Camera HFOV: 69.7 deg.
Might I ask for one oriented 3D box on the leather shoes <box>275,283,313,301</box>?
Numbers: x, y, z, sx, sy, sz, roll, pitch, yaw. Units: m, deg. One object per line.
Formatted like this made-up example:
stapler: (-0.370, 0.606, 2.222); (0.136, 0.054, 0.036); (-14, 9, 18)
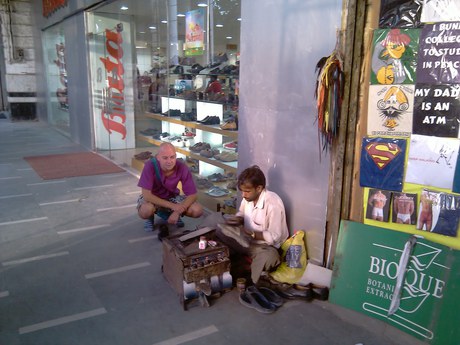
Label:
leather shoes: (0.564, 1.036, 2.886); (0.281, 0.090, 0.119); (3, 9, 20)

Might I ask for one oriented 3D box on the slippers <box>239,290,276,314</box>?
slippers: (0.225, 1.079, 2.751); (0.319, 0.096, 0.163); (4, 10, 22)

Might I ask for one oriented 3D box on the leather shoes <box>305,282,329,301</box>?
leather shoes: (0.778, 1.033, 2.883); (0.074, 0.078, 0.200); (-5, 7, -21)

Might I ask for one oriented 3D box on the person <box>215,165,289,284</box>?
person: (0.184, 0.431, 3.182); (0.674, 1.062, 0.527); (-2, 5, -37)

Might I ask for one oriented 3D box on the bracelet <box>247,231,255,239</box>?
bracelet: (0.209, 0.576, 3.069); (0.054, 0.025, 0.067); (26, 14, -14)

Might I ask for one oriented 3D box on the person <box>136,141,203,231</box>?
person: (-0.759, 0.173, 3.904); (0.576, 1.088, 0.719); (-2, 5, -35)
